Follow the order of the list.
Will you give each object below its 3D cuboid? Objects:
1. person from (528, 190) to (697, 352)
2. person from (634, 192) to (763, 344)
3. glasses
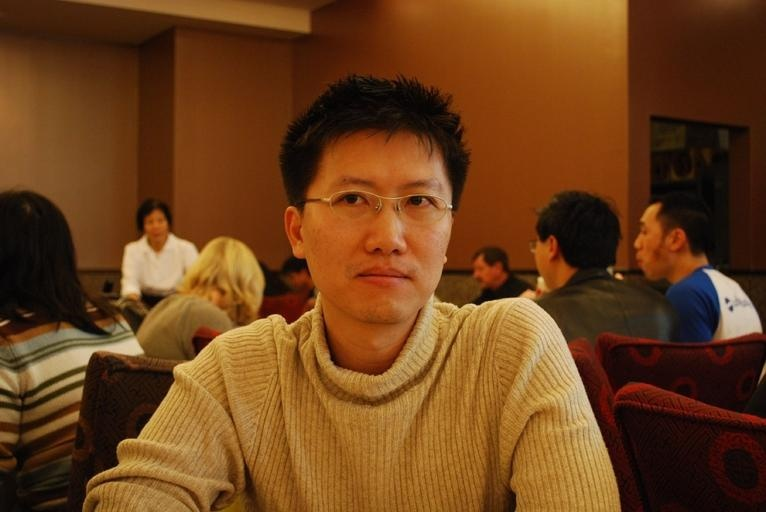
[{"bbox_3d":[0.943,0.071,3.012,0.891,0.791,0.666,-4,8,-27],"label":"person"},{"bbox_3d":[1.483,0.093,3.304,0.584,0.880,0.854,-1,0,43],"label":"person"},{"bbox_3d":[0.008,-0.123,1.599,0.273,0.071,0.045,3,5,-5],"label":"glasses"}]
